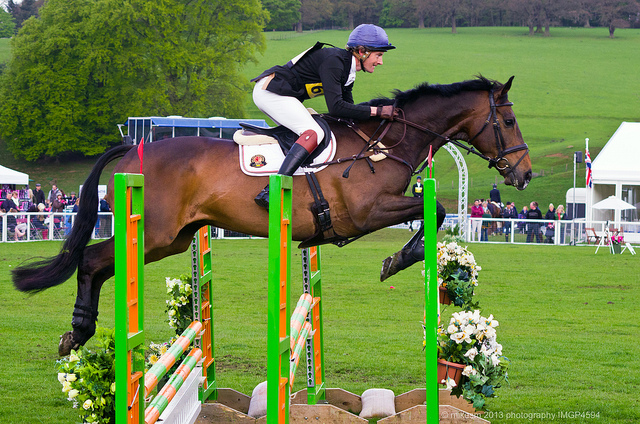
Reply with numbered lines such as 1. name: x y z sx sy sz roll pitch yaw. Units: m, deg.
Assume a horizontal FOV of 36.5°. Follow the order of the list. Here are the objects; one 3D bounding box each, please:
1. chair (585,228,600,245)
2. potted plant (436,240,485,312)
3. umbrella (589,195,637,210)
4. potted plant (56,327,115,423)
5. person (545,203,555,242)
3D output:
1. chair: 12.523 1.142 44.469 0.607 0.803 1.075 1 3 17
2. potted plant: 4.120 2.380 30.128 0.896 1.166 1.054 29 -21 -23
3. umbrella: 13.274 -0.388 44.235 1.253 0.555 1.766 -2 3 -28
4. potted plant: -6.652 4.752 28.194 1.533 2.731 0.623 0 3 0
5. person: 10.679 0.531 44.992 0.426 1.696 0.845 0 3 13
